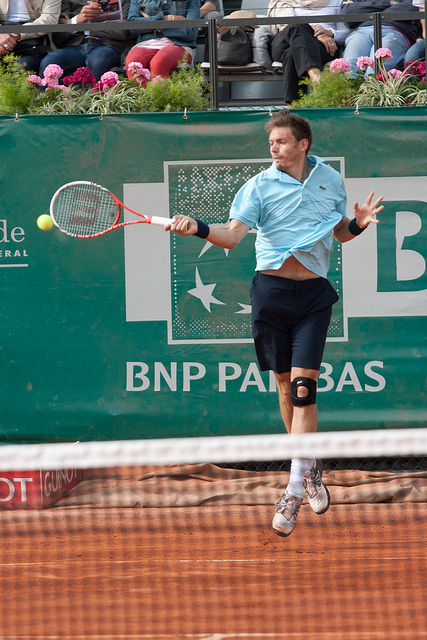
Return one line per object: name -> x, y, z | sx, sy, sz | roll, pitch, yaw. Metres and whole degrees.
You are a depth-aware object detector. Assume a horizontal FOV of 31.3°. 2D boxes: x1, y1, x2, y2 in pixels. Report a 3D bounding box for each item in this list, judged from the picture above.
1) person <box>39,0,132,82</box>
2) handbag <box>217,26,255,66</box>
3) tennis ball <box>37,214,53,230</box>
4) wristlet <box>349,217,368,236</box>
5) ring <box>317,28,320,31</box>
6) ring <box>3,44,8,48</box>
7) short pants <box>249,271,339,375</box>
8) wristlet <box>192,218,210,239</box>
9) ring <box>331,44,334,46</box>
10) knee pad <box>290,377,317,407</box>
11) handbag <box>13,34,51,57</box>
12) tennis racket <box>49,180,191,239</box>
person -> -1.008, -2.254, 6.116 | 0.712, 0.798, 0.728 | -2, 7, -2
handbag -> 0.167, -2.187, 6.055 | 0.308, 0.297, 0.285 | 4, 29, 12
tennis ball -> -0.833, -0.480, 3.841 | 0.096, 0.085, 0.103 | 5, 30, -3
wristlet -> 0.678, -0.445, 3.632 | 0.071, 0.073, 0.077 | 20, -38, -26
ring -> 0.803, -2.235, 5.875 | 0.015, 0.020, 0.003 | 1, 8, 23
ring -> -1.627, -2.141, 5.965 | 0.039, 0.031, 0.009 | 2, 5, 10
short pants -> 0.383, 0.019, 3.565 | 0.423, 0.465, 0.252 | -1, 0, 23
wristlet -> -0.056, -0.391, 3.262 | 0.074, 0.070, 0.056 | 10, 25, -23
ring -> 0.910, -2.105, 5.851 | 0.030, 0.010, 0.006 | -6, 8, -37
knee pad -> 0.397, 0.322, 3.402 | 0.120, 0.111, 0.135 | -1, -11, 5
handbag -> -1.452, -2.200, 6.155 | 0.277, 0.096, 0.190 | -6, 8, -5
tennis racket -> -0.436, -0.549, 4.050 | 0.951, 0.268, 0.046 | 13, 15, 22
